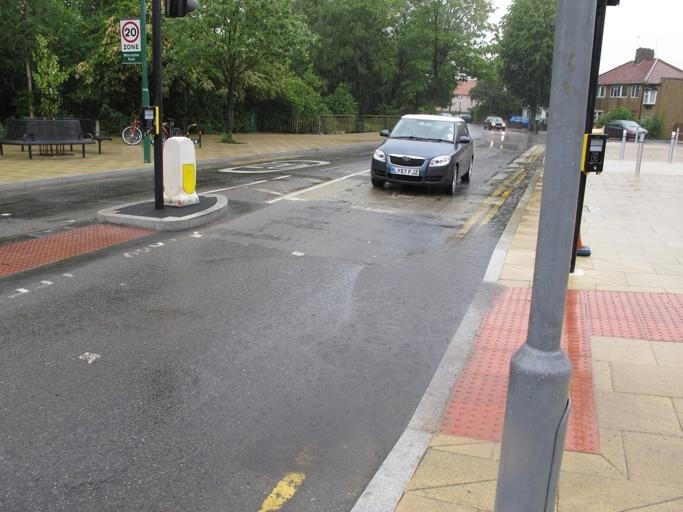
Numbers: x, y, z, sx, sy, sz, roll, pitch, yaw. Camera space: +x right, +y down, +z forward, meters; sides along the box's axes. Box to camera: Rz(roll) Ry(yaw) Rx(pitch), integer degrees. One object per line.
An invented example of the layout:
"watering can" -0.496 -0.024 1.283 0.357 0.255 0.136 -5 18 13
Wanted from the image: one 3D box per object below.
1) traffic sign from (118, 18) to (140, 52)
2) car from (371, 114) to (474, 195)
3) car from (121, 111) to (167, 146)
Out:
"traffic sign" -6.877 -7.168 18.585 0.719 1.031 0.312 2 13 6
"car" 2.389 -2.765 15.591 1.500 1.370 3.509 6 19 16
"car" -9.147 -5.946 26.399 2.002 1.501 1.086 -14 -10 -14
